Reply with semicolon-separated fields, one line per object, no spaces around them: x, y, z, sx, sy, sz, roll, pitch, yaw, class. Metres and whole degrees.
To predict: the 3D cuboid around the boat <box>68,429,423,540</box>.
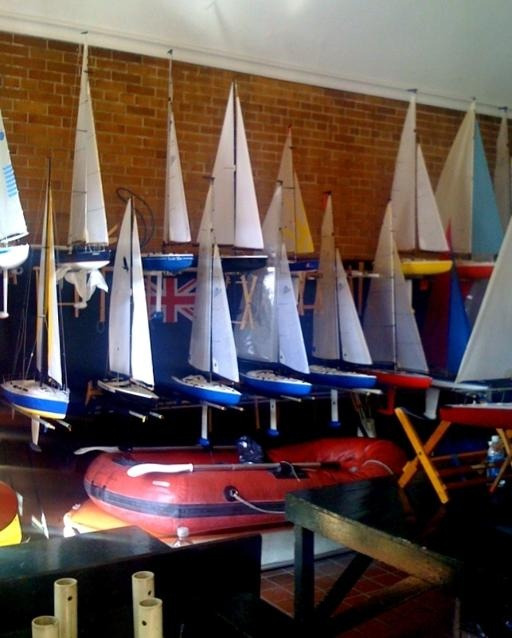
-0.054;1.003;4.331;1.497;0.355;0.904;3;-3;-26;boat
